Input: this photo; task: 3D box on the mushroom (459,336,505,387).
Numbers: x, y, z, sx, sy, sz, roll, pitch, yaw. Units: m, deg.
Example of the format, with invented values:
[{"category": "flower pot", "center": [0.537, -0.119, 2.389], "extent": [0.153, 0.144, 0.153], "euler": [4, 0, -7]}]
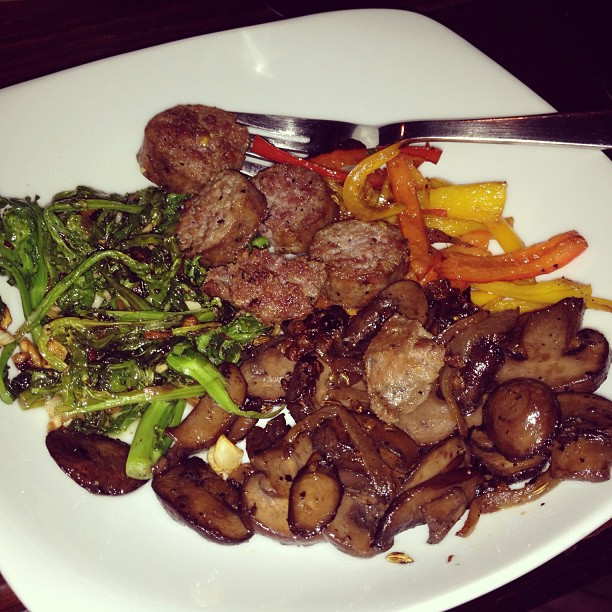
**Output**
[{"category": "mushroom", "center": [1.040, 0.336, 3.968], "extent": [0.271, 0.111, 0.255], "euler": [13, 85, 20]}]

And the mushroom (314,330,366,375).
[{"category": "mushroom", "center": [0.232, 0.275, 4.084], "extent": [0.324, 0.205, 0.082], "euler": [31, 43, 17]}]

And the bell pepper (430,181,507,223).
[{"category": "bell pepper", "center": [1.013, -0.666, 4.256], "extent": [0.460, 0.223, 0.206], "euler": [3, 51, 4]}]

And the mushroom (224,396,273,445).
[{"category": "mushroom", "center": [-0.379, 0.712, 4.166], "extent": [0.361, 0.083, 0.213], "euler": [-45, 51, 8]}]
